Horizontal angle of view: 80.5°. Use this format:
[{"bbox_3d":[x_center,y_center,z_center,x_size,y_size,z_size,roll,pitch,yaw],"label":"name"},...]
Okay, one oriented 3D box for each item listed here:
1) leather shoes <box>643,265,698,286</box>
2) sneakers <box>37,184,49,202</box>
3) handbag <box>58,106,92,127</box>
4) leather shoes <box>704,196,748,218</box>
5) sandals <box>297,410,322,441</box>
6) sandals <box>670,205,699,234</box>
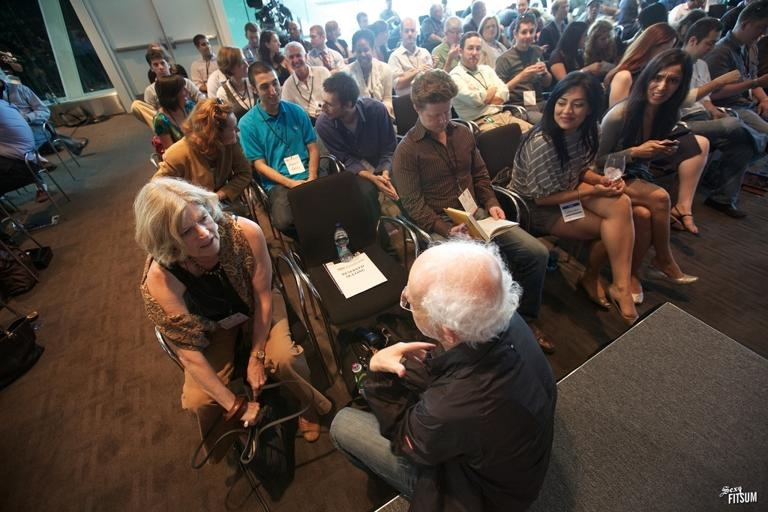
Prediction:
[{"bbox_3d":[2.701,0.192,4.369,0.517,0.131,0.183,15,34,42],"label":"leather shoes"},{"bbox_3d":[-4.690,-0.854,6.212,0.178,0.182,0.113,22,23,-3],"label":"sneakers"},{"bbox_3d":[-6.284,-2.787,9.164,0.485,0.400,0.204,-13,20,-34],"label":"handbag"},{"bbox_3d":[3.719,-0.512,4.933,0.137,0.189,0.434,-44,46,-15],"label":"leather shoes"},{"bbox_3d":[-0.615,1.361,3.756,0.156,0.125,0.341,-6,29,-13],"label":"sandals"},{"bbox_3d":[3.142,-0.372,4.756,0.123,0.129,0.318,-33,56,-23],"label":"sandals"}]
